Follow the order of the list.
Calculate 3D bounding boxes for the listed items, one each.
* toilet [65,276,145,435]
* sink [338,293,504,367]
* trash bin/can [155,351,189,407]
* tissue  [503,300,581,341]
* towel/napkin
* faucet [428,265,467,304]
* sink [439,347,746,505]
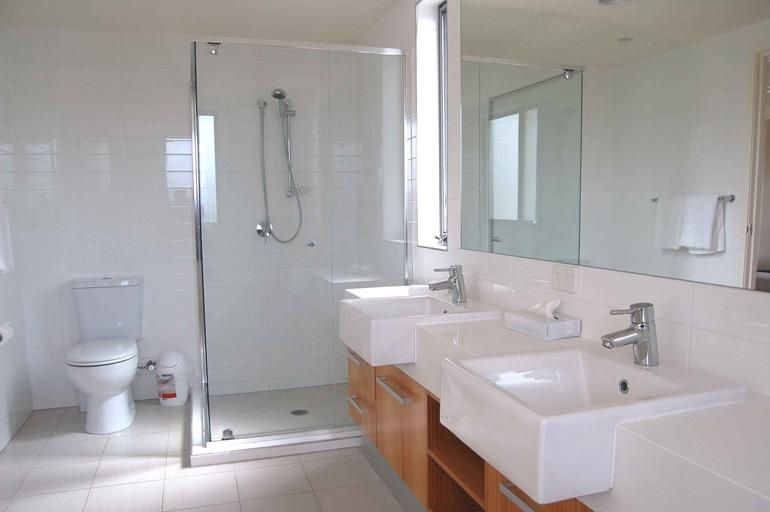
[{"bbox_3d":[-2.072,0.716,4.038,0.526,1.006,0.680,-5,14,-20],"label":"toilet"},{"bbox_3d":[0.156,0.367,2.790,0.503,0.153,0.535,0,2,-23],"label":"sink"},{"bbox_3d":[-1.700,0.986,4.283,0.204,0.411,0.126,-7,15,-26],"label":"trash bin/can"},{"bbox_3d":[0.721,0.275,2.457,0.227,0.148,0.299,-5,13,-23],"label":"tissue "},{"bbox_3d":[1.166,-0.125,2.028,0.053,0.165,0.245,-3,5,-31],"label":"towel/napkin"},{"bbox_3d":[0.344,0.170,3.135,0.249,0.243,0.174,0,-4,-4],"label":"faucet"},{"bbox_3d":[0.691,0.541,1.876,0.664,0.220,0.604,0,2,-24],"label":"sink"}]
